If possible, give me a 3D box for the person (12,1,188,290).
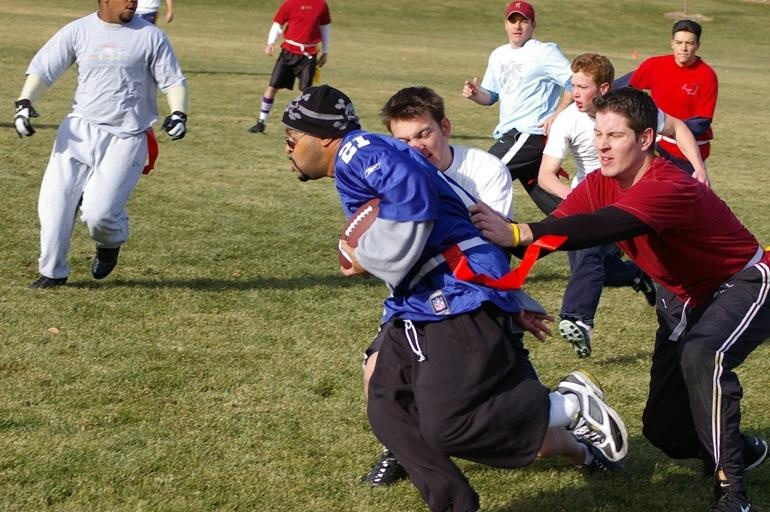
[{"bbox_3d":[-2.596,-1.069,8.503,1.371,2.650,1.068,-4,24,-34],"label":"person"}]

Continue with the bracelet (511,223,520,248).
[{"bbox_3d":[0.870,-0.144,6.057,0.038,0.114,0.140,-6,-5,9],"label":"bracelet"}]

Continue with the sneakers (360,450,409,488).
[{"bbox_3d":[-0.047,1.520,6.425,0.455,0.151,0.147,-9,19,-23],"label":"sneakers"}]

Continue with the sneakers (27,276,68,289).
[{"bbox_3d":[-3.046,0.246,8.405,0.363,0.111,0.105,4,2,-16],"label":"sneakers"}]

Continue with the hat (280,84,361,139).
[{"bbox_3d":[-0.392,-0.983,6.134,0.574,0.240,0.342,-1,32,0],"label":"hat"}]

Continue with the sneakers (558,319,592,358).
[{"bbox_3d":[1.615,0.721,7.581,0.231,0.363,0.202,-32,24,-34],"label":"sneakers"}]
